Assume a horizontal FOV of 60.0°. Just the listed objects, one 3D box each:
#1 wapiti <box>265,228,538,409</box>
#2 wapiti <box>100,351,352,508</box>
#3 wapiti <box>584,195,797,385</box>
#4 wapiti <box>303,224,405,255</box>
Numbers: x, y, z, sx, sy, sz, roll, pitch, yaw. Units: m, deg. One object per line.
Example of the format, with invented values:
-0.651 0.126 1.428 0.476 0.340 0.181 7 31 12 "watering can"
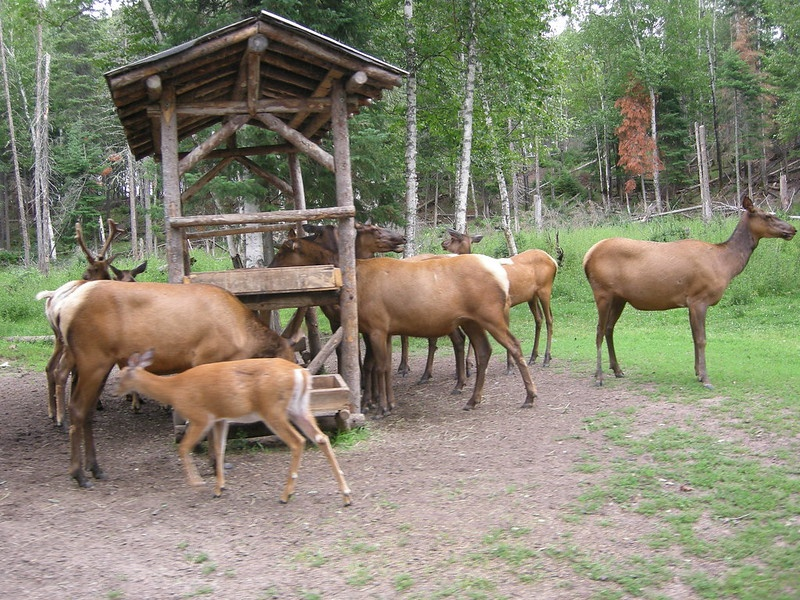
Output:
-0.195 0.350 9.024 4.582 2.219 0.993 -2 -7 -23 "wapiti"
-1.673 1.162 6.760 2.655 1.097 0.567 -2 -9 14 "wapiti"
3.854 -0.209 9.577 2.440 2.227 1.175 -2 15 9 "wapiti"
-0.620 -0.814 9.425 1.123 0.564 0.549 6 30 1 "wapiti"
